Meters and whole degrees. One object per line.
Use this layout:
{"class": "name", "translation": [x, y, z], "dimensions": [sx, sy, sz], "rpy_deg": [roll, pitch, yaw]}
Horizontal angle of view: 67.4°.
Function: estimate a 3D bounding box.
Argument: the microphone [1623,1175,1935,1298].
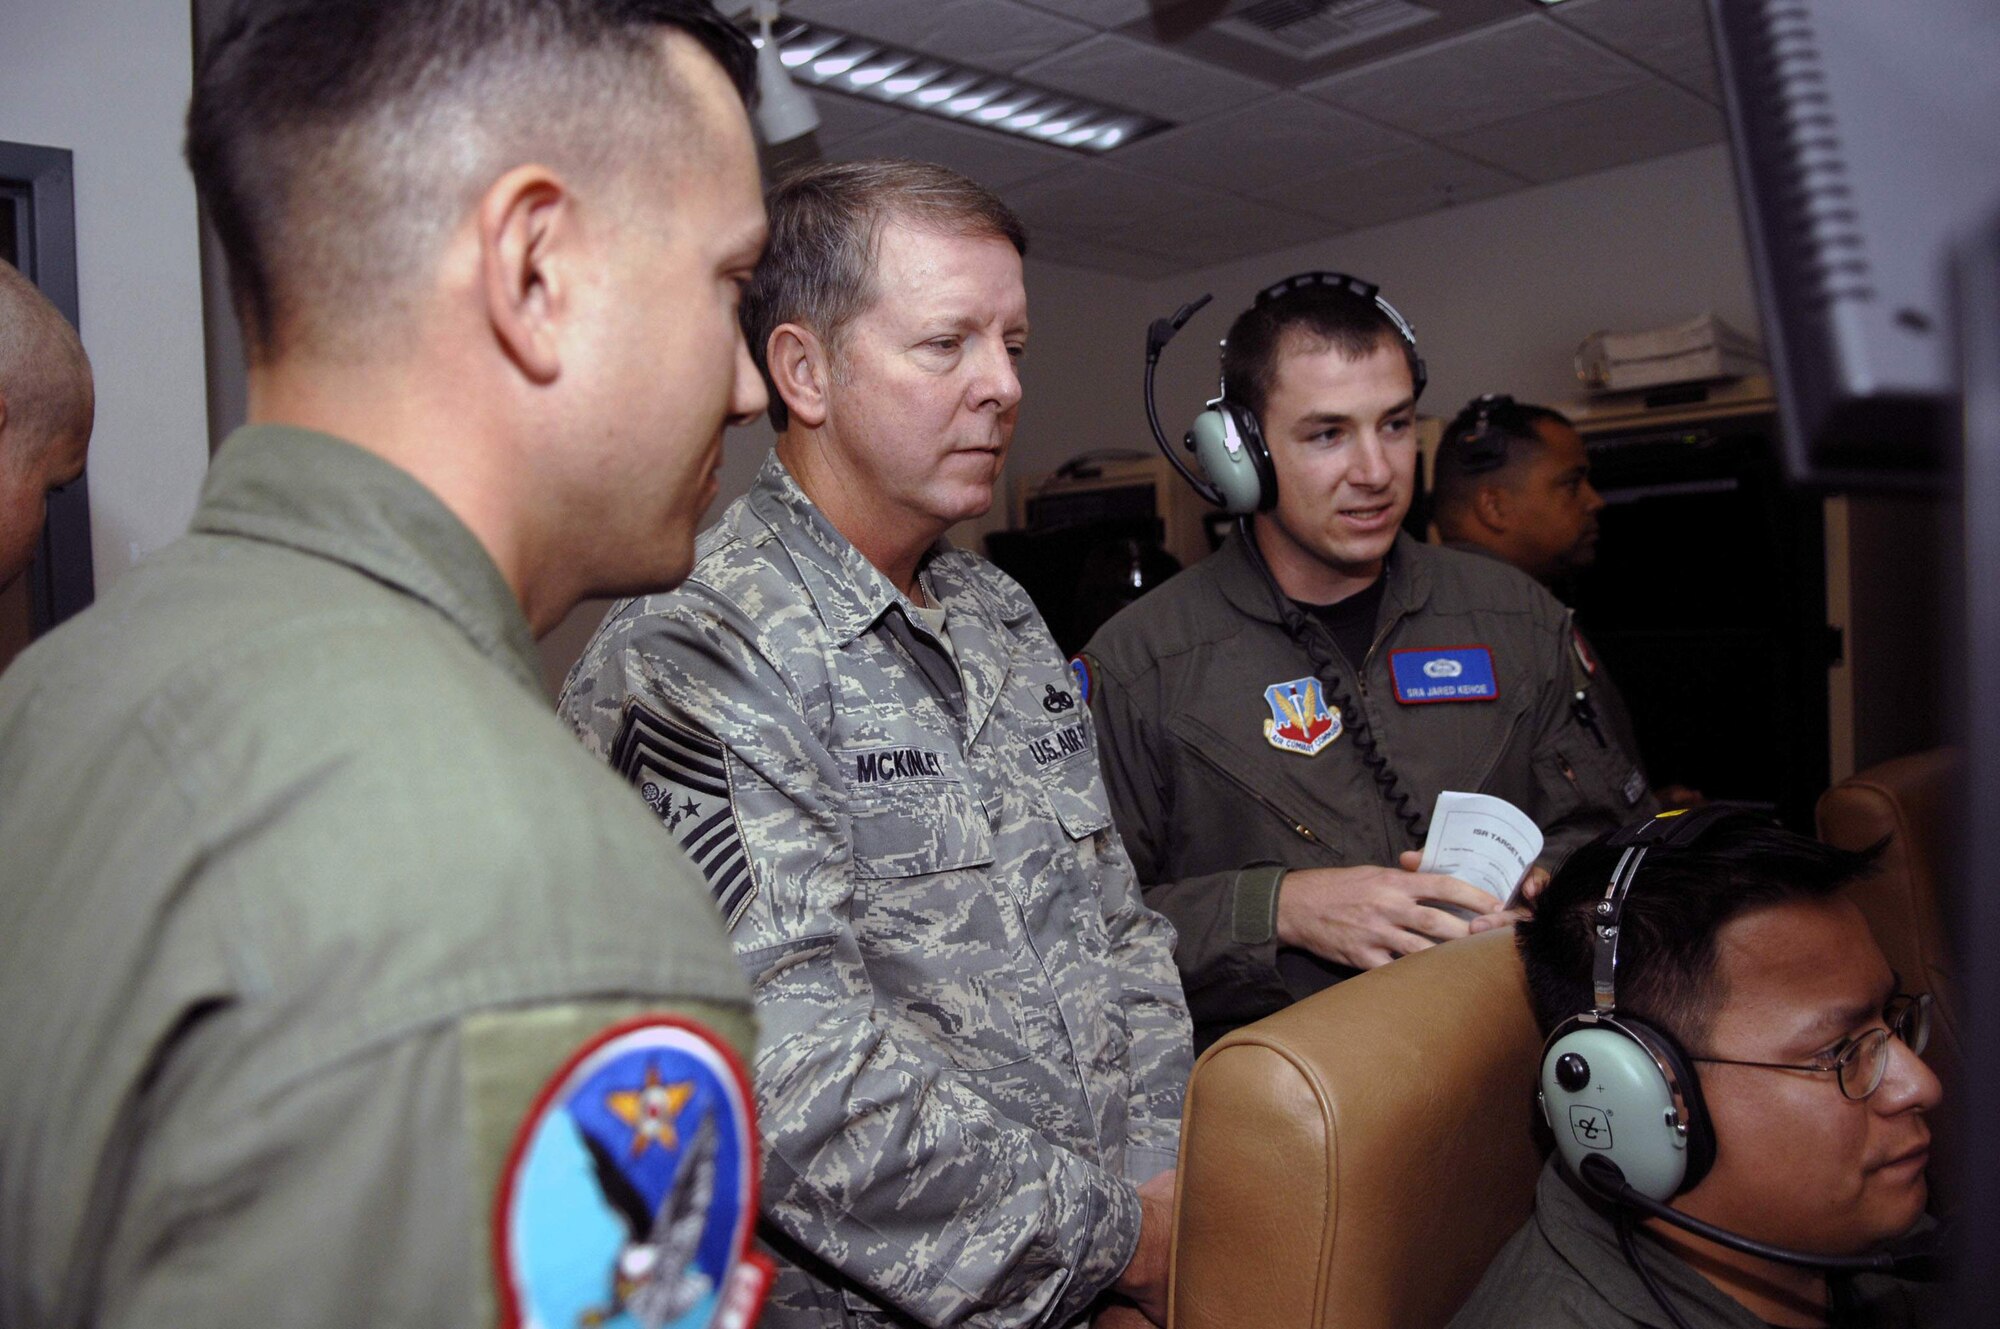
{"class": "microphone", "translation": [0.700, 0.520, 1.364], "dimensions": [0.175, 0.040, 0.140], "rpy_deg": [5, -7, 13]}
